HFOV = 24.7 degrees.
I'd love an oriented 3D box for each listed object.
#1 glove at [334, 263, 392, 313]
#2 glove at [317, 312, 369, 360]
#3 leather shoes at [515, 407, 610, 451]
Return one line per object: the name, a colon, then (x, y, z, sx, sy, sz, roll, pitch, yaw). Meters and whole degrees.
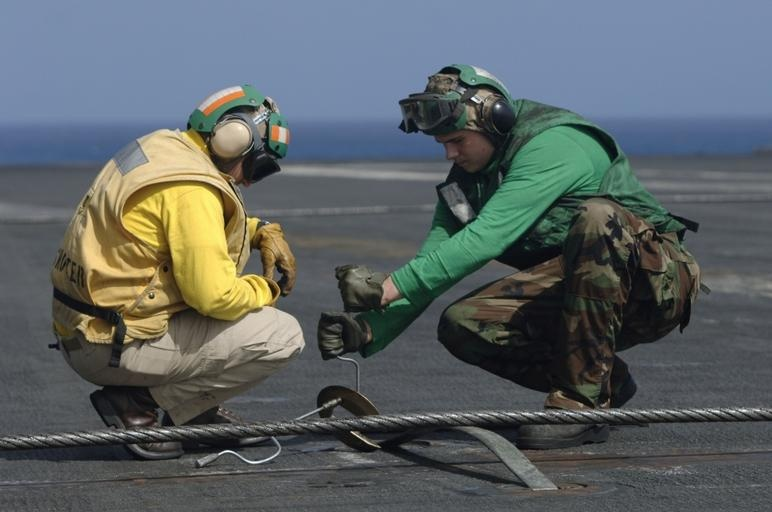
glove: (-0.162, 0.241, 11.299, 0.327, 0.363, 0.224, 2, 26, -1)
glove: (-0.296, 0.504, 11.370, 0.407, 0.259, 0.161, 1, -1, -7)
leather shoes: (1.116, 1.131, 11.298, 0.669, 0.207, 0.233, 1, -6, -13)
